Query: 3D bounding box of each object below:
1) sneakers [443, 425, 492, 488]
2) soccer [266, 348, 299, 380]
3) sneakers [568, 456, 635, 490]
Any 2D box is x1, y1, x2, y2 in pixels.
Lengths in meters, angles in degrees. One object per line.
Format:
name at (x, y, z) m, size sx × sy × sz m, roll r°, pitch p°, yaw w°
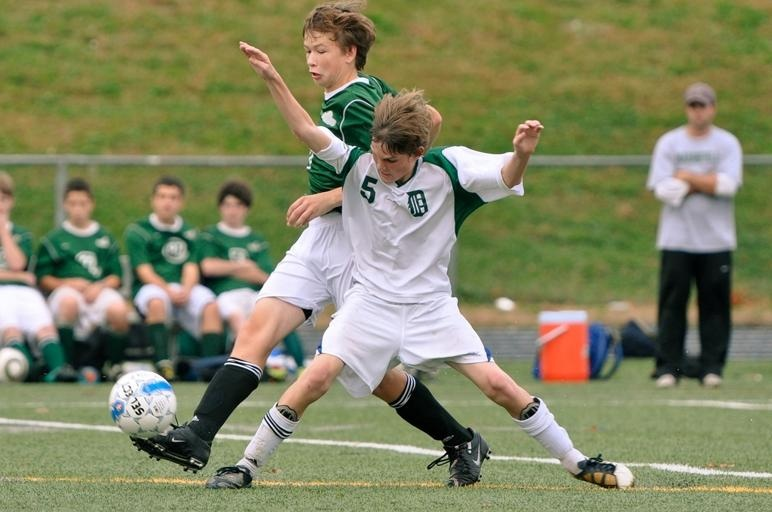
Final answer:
sneakers at (0.565, 1.383, 10.305) m, size 0.238 × 0.449 × 0.167 m, roll 44°, pitch -32°, yaw -23°
soccer at (-0.987, 1.041, 14.468) m, size 0.364 × 0.411 × 0.448 m, roll 3°, pitch -5°, yaw -4°
sneakers at (1.454, 1.435, 10.072) m, size 0.329 × 0.126 × 0.203 m, roll 3°, pitch 6°, yaw 18°
